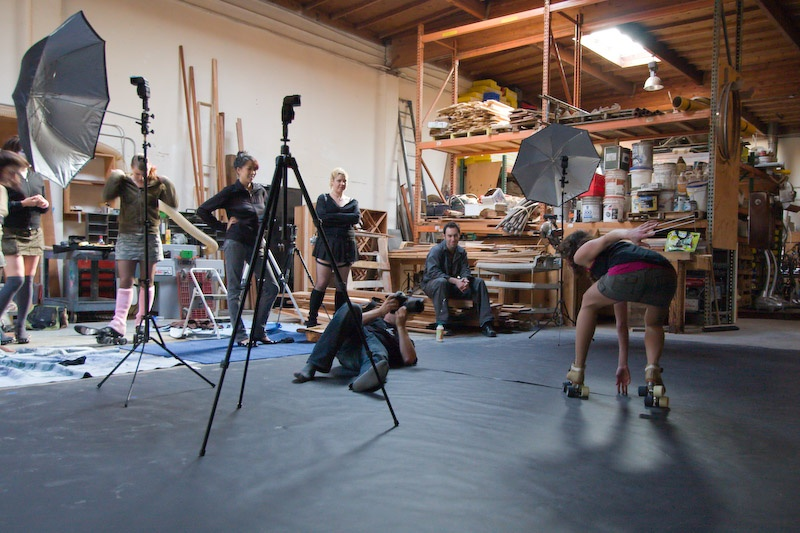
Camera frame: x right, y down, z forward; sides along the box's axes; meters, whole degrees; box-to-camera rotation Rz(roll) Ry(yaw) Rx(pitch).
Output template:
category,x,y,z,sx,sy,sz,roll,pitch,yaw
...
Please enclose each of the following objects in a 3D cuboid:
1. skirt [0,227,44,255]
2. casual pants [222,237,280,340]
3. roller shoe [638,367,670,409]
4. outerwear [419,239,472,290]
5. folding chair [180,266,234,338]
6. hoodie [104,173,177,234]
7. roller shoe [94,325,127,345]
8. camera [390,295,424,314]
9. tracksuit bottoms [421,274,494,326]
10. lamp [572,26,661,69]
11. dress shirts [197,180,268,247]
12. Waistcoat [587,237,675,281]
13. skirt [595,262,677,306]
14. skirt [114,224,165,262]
category,x,y,z,sx,sy,sz,roll,pitch,yaw
skirt,-4.232,-0.263,6.476,0.275,0.304,0.453,-8,-7,30
casual pants,-1.644,0.153,6.689,0.581,1.589,0.376,-7,-37,-9
roller shoe,2.028,0.976,4.630,0.210,0.223,0.394,-2,-4,24
outerwear,0.675,0.002,8.138,0.700,0.714,0.647,8,9,25
folding chair,-2.632,0.407,7.552,0.526,0.610,0.416,3,5,-16
hoodie,-2.859,-0.713,6.400,0.819,0.672,0.410,0,-2,-21
roller shoe,-3.268,0.779,6.509,0.200,0.127,0.304,1,-2,5
camera,0.089,0.326,5.132,0.208,0.109,0.192,1,0,30
tracksuit bottoms,0.673,0.414,8.261,0.822,0.535,1.312,0,13,-22
lamp,4.614,-4.737,12.300,0.856,0.243,1.353,-10,-16,43
dress shirts,-1.796,-0.640,6.684,0.406,0.689,1.030,5,1,36
Waistcoat,1.959,-0.071,4.842,0.524,0.288,0.740,5,2,-7
skirt,1.900,0.183,4.839,0.649,0.321,0.566,1,-19,1
skirt,-2.868,-0.203,6.390,0.627,0.403,0.362,3,-9,-29
